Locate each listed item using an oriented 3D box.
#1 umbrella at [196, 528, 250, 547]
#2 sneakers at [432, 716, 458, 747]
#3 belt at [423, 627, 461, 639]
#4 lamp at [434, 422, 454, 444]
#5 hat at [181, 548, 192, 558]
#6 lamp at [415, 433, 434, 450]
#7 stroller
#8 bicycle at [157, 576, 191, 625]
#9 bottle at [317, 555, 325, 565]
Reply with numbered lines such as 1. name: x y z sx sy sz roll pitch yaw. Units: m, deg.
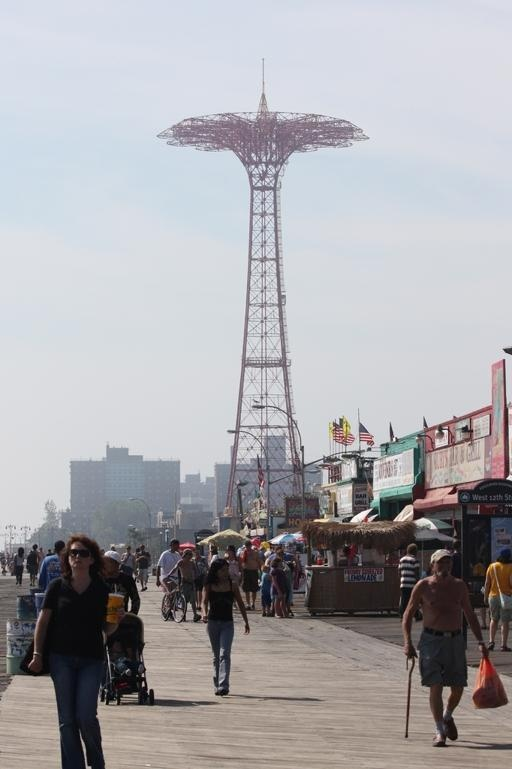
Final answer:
1. umbrella: -0.774 4.370 43.676 0.928 0.425 0.982 -7 -11 33
2. sneakers: 1.633 3.013 13.393 0.161 0.211 0.536 -4 -7 20
3. belt: 1.652 2.226 13.877 0.358 0.107 0.235 -4 -7 9
4. lamp: 5.781 1.626 47.821 0.367 0.886 0.769 3 -5 -14
5. hat: -1.334 3.350 30.875 0.159 0.233 0.209 4 -12 -8
6. lamp: 5.542 1.862 50.436 0.404 0.912 0.400 -7 10 -19
7. stroller: -1.353 2.945 16.304 0.599 1.443 1.072 1 -15 -6
8. bicycle: -1.635 4.487 31.742 0.438 0.706 1.016 3 -8 -13
9. bottle: 2.094 5.588 49.077 0.237 0.298 0.149 -5 2 -5
